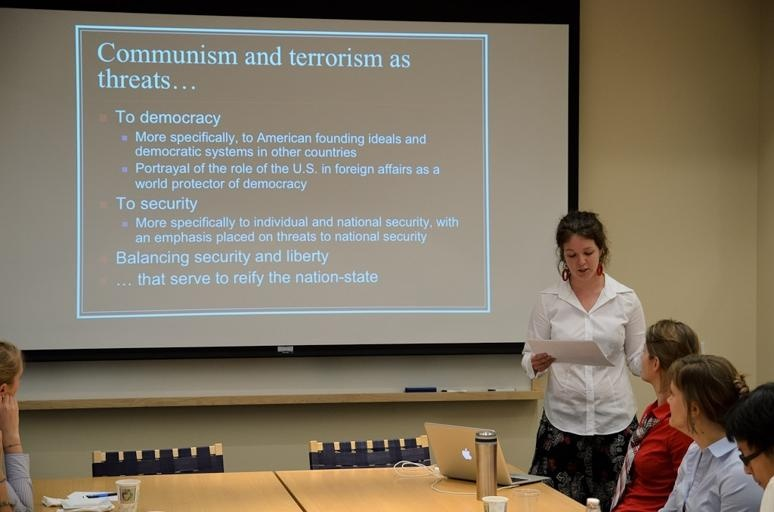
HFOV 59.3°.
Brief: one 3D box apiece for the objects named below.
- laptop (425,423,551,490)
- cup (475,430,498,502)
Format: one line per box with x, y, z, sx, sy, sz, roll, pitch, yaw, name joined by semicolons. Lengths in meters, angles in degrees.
0.452;0.950;3.511;0.386;0.261;0.405;4;-10;-42;laptop
0.485;1.013;3.320;0.120;0.275;0.189;-5;1;7;cup
